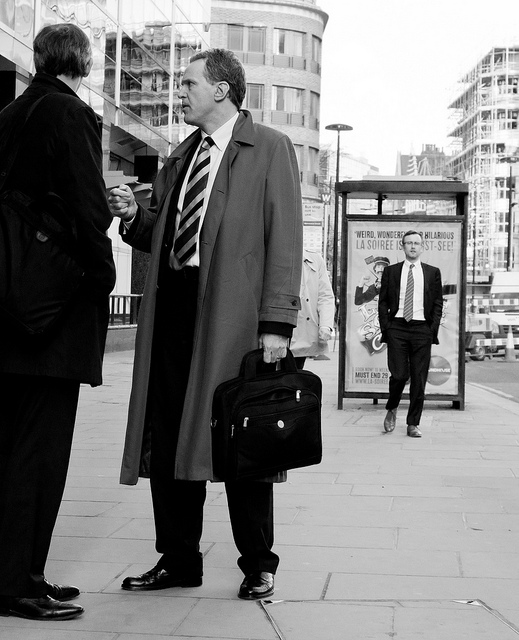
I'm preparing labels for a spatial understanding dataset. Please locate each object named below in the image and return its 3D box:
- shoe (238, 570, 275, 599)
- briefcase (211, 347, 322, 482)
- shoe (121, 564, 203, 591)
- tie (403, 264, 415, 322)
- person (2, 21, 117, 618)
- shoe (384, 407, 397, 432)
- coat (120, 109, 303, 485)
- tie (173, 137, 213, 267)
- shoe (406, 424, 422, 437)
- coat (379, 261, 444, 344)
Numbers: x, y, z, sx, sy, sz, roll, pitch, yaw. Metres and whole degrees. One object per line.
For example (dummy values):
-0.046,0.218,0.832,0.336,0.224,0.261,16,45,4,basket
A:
-0.009,0.948,3.187,0.138,0.092,0.109,4,5,-10,shoe
0.046,0.323,3.102,0.482,0.441,0.169,0,6,-40,briefcase
-0.354,0.952,3.271,0.299,0.087,0.062,4,5,-16,shoe
1.377,-0.211,8.200,0.083,0.414,0.190,4,5,9,tie
-0.698,-0.016,3.025,0.397,2.025,0.429,3,5,-12,person
1.220,0.943,8.304,0.074,0.270,0.100,6,-23,10,shoe
-0.206,-0.111,3.205,0.575,1.469,0.453,-2,-20,15,coat
-0.228,-0.417,3.209,0.122,0.705,0.056,3,-32,-1,tie
1.392,0.997,7.999,0.132,0.115,0.187,6,5,11,shoe
1.397,-0.158,8.229,0.581,0.995,0.467,1,-12,8,coat
